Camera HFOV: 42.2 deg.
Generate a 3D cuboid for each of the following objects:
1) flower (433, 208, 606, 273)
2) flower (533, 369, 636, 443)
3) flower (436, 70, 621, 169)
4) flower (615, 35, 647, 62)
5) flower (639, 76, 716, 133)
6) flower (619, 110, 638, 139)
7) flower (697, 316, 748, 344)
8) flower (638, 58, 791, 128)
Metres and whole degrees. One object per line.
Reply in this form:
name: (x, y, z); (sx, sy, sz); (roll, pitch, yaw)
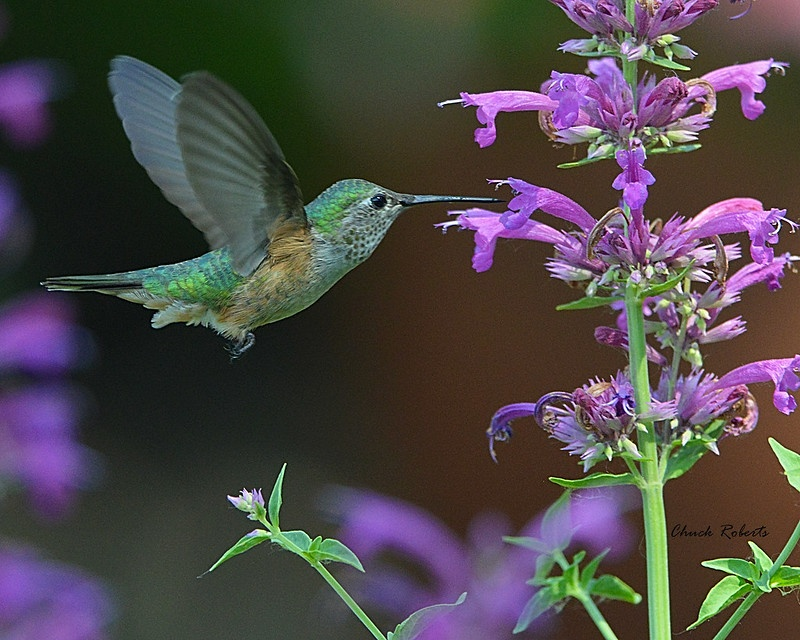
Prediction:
flower: (0.341, -0.272, 3.309); (0.588, 0.137, 0.295); (5, -7, 5)
flower: (0.571, 0.259, 3.271); (0.343, 0.242, 0.186); (-6, -38, 15)
flower: (0.408, -0.608, 3.079); (0.484, 0.406, 0.289); (-3, -38, 11)
flower: (0.680, -0.794, 3.021); (0.090, 0.063, 0.036); (-21, -19, -38)
flower: (0.824, -0.669, 3.076); (0.241, 0.205, 0.167); (2, -37, 4)
flower: (0.670, -0.575, 3.052); (0.052, 0.060, 0.067); (-1, -36, 9)
flower: (0.932, 0.027, 3.052); (0.160, 0.029, 0.043); (-20, -9, -6)
flower: (1.070, -0.774, 3.368); (0.387, 0.184, 0.154); (16, -45, 28)
